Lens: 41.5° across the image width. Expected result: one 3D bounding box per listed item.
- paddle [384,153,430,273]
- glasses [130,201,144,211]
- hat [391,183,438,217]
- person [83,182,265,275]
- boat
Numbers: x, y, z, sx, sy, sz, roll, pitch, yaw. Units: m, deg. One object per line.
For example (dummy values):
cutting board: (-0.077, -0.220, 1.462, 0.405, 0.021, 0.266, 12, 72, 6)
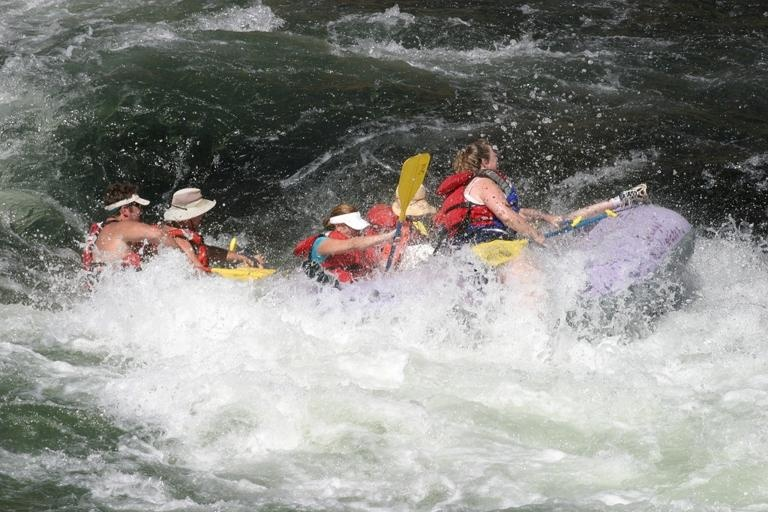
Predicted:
paddle: (0.219, -0.430, 12.686, 0.390, 0.089, 2.302, 6, 47, 11)
glasses: (-3.387, -0.700, 13.901, 0.203, 0.052, 0.128, 15, -1, 0)
hat: (0.398, -0.750, 13.917, 0.480, 0.512, 0.253, -10, 82, -33)
person: (-3.011, -0.343, 13.539, 1.757, 0.808, 1.144, -9, 32, -11)
boat: (3.232, 0.082, 12.957, 1.447, 0.896, 1.465, 7, 37, 9)
